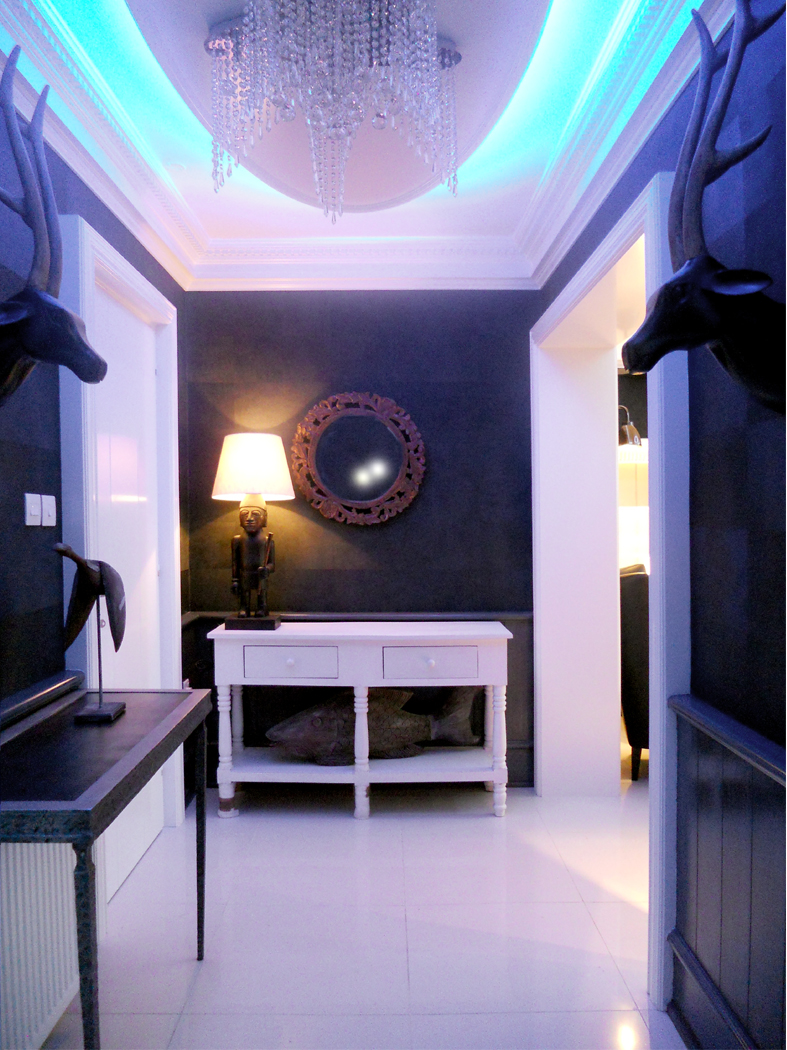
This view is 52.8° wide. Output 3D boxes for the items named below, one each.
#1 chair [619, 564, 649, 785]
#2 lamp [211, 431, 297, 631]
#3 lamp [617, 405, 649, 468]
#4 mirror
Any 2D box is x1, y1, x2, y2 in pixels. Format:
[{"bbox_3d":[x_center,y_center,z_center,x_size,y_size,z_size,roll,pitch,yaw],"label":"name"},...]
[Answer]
[{"bbox_3d":[1.163,0.711,3.858,0.126,1.006,0.327,0,1,15],"label":"chair"},{"bbox_3d":[-0.612,0.018,3.514,0.344,0.850,0.429,0,1,-11],"label":"lamp"},{"bbox_3d":[1.388,-0.523,4.634,0.142,0.344,0.540,0,1,17],"label":"lamp"},{"bbox_3d":[-0.174,-0.305,3.654,0.572,0.037,0.787,-1,-47,2],"label":"mirror"}]
